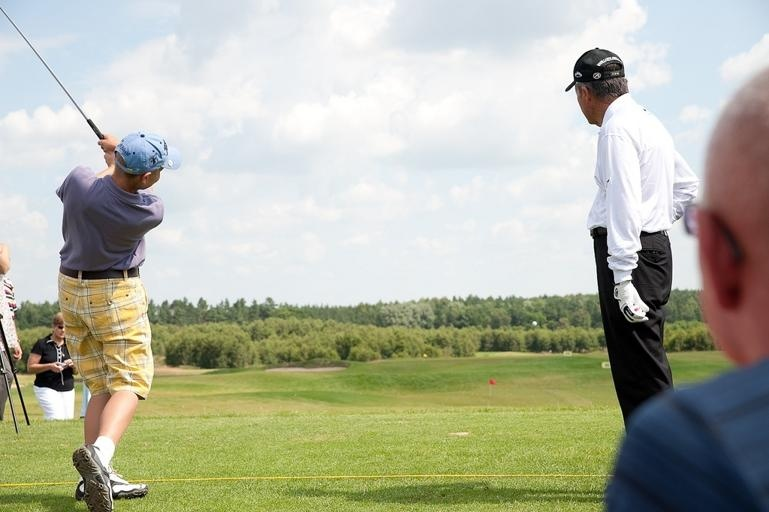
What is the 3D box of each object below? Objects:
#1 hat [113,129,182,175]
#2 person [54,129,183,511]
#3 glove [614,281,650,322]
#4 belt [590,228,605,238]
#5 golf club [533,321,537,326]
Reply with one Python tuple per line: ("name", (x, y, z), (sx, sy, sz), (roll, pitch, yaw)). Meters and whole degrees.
("hat", (-2.527, -1.151, 9.526), (0.736, 0.353, 0.502), (-18, 49, -44))
("person", (-2.829, 0.656, 9.272), (1.097, 3.814, 0.535), (-3, -7, -10))
("glove", (2.412, 0.453, 8.804), (0.203, 0.430, 0.265), (-30, -21, 14))
("belt", (2.156, -0.232, 9.041), (0.107, 0.042, 0.103), (1, -7, -32))
("golf club", (3.874, 1.743, 23.095), (0.091, 0.095, 0.028), (1, -18, 10))
